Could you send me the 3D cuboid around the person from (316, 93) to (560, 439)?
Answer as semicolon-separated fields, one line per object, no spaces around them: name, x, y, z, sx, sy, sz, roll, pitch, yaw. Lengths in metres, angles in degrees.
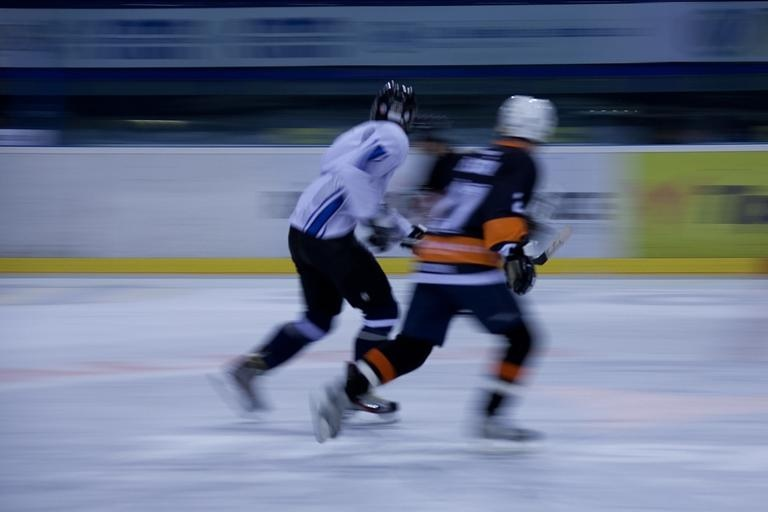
person;0.498;0.099;8.866;1.564;2.511;0.937;5;22;-3

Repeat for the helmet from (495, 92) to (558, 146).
helmet;1.020;-0.999;8.921;0.564;0.261;0.309;2;9;-5
